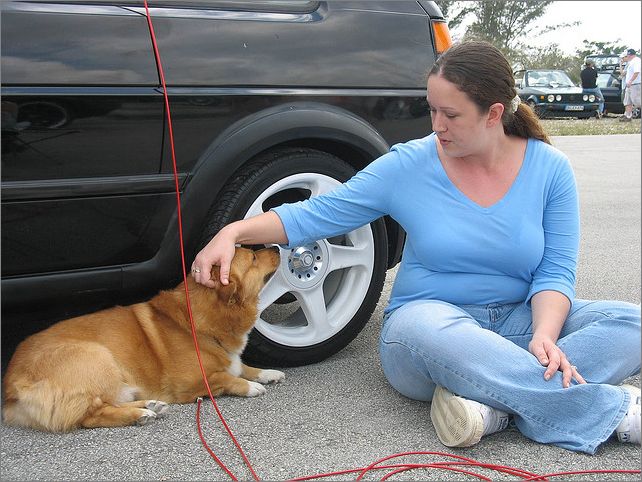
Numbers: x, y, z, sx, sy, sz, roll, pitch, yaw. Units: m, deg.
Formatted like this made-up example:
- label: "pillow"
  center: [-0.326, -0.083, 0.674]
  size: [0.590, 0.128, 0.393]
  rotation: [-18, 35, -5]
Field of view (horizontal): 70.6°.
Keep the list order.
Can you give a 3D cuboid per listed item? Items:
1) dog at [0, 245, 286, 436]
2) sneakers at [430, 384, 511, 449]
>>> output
- label: "dog"
  center: [-0.672, 0.543, 2.616]
  size: [1.751, 0.688, 0.612]
  rotation: [-16, -4, -16]
- label: "sneakers"
  center: [0.639, 0.795, 2.080]
  size: [0.183, 0.180, 0.351]
  rotation: [6, 5, -22]
